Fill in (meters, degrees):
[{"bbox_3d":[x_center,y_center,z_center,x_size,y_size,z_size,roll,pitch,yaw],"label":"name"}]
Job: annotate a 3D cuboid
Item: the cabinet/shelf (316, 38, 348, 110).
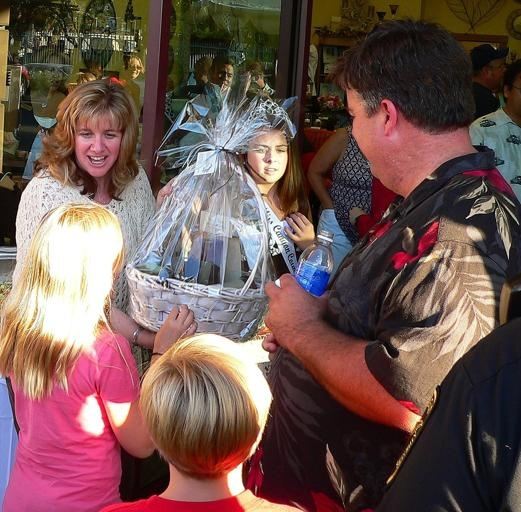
[{"bbox_3d":[0.962,-2.405,5.902,0.371,0.846,0.207,8,21,21],"label":"cabinet/shelf"}]
